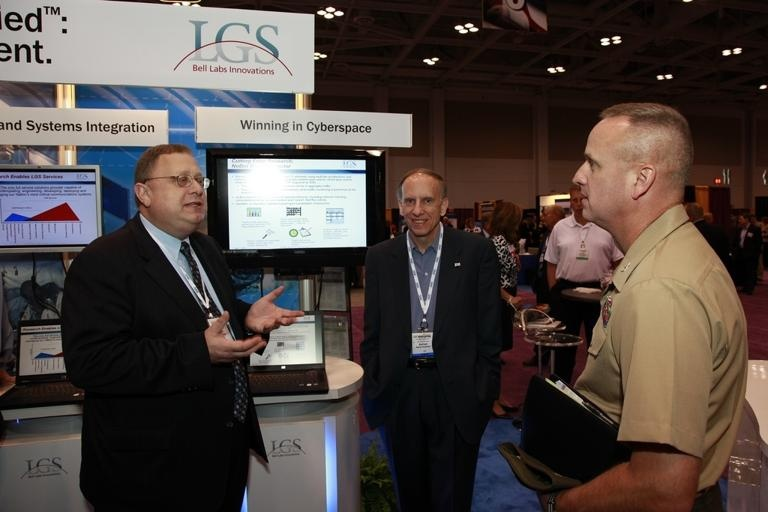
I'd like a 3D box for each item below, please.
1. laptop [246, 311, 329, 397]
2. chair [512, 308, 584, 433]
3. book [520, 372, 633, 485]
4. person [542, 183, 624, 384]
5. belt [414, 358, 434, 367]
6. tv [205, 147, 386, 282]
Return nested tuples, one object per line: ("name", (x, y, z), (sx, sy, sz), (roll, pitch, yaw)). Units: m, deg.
("laptop", (-0.532, 0.514, 3.298), (0.440, 0.308, 0.414), (-4, 9, -6))
("chair", (1.147, 0.880, 4.575), (0.570, 0.627, 0.551), (14, -1, 11))
("book", (0.702, 0.632, 2.309), (0.341, 0.343, 0.120), (32, 22, 32))
("person", (1.642, 0.287, 5.092), (0.544, 1.660, 0.505), (3, 14, 21))
("belt", (0.211, 0.557, 3.245), (0.111, 0.050, 0.012), (-1, 5, 3))
("tv", (-0.521, -0.261, 3.560), (0.768, 0.555, 0.081), (0, -1, -8))
